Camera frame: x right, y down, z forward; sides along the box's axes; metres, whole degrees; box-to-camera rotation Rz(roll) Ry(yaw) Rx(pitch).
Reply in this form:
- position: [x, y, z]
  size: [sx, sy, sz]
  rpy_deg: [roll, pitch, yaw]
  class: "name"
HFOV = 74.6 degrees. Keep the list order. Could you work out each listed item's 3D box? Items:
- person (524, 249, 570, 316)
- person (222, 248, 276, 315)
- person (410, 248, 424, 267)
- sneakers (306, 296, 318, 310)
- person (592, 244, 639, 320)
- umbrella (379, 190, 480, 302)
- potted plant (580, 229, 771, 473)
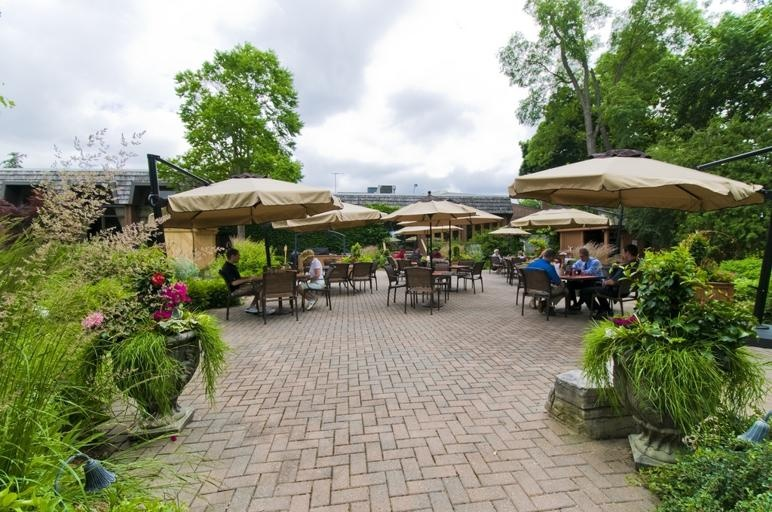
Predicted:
- position: [3.393, 0.472, 10.487]
  size: [0.873, 1.281, 0.662]
  rpy_deg: [-7, 10, -35]
  class: "person"
- position: [-3.020, 0.566, 11.140]
  size: [1.073, 1.503, 0.654]
  rpy_deg: [-7, 4, -22]
  class: "person"
- position: [0.994, 0.060, 18.395]
  size: [0.582, 0.762, 0.678]
  rpy_deg: [0, -1, 5]
  class: "person"
- position: [-1.855, 1.182, 12.555]
  size: [0.197, 0.166, 0.499]
  rpy_deg: [33, 14, 6]
  class: "sneakers"
- position: [4.615, 0.580, 10.230]
  size: [0.789, 1.595, 0.887]
  rpy_deg: [-3, 10, -31]
  class: "person"
- position: [1.120, -0.749, 13.234]
  size: [1.790, 1.228, 1.655]
  rpy_deg: [-13, 16, -34]
  class: "umbrella"
- position: [3.490, 0.966, 6.870]
  size: [2.627, 2.560, 2.309]
  rpy_deg: [-10, 5, -21]
  class: "potted plant"
